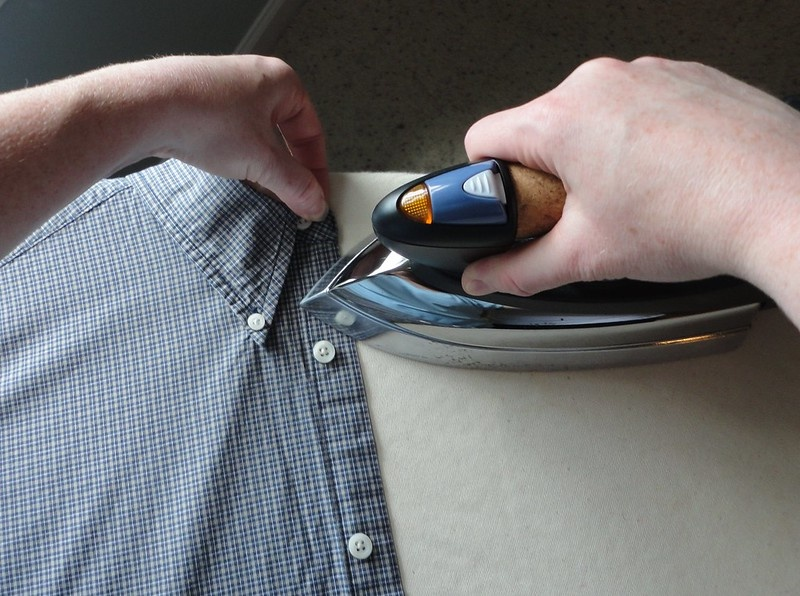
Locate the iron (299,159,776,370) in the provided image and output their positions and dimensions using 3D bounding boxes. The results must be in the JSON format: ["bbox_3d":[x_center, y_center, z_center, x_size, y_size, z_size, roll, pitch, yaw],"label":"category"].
[{"bbox_3d":[0.030,-0.007,0.908,0.665,0.248,0.178,-2,68,2],"label":"iron"}]
